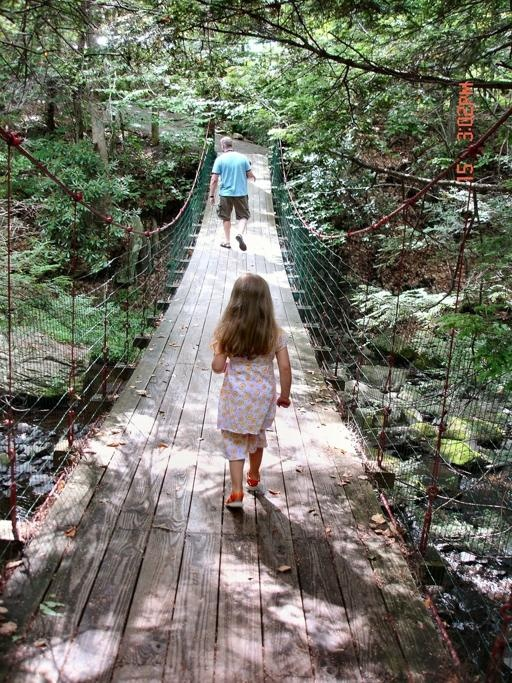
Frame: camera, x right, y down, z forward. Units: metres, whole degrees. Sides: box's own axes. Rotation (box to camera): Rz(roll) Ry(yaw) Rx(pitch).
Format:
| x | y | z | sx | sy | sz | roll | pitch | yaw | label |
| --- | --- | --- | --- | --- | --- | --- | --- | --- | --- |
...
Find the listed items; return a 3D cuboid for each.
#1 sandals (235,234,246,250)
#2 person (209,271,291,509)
| x | y | z | sx | sy | sz | roll | pitch | yaw | label |
| --- | --- | --- | --- | --- | --- | --- | --- | --- | --- |
| -0.200 | -1.212 | 6.649 | 0.080 | 0.201 | 0.077 | -5 | 43 | 31 | sandals |
| -0.048 | 0.195 | 2.240 | 0.266 | 0.917 | 0.299 | 18 | 20 | 36 | person |
